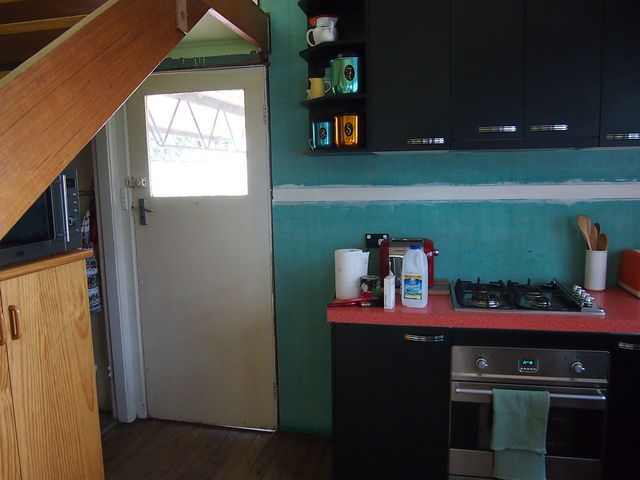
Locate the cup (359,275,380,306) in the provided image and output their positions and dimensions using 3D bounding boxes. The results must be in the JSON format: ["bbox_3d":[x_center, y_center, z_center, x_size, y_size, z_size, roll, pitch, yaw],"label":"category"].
[{"bbox_3d":[0.264,0.266,2.688,0.130,0.200,0.124,0,9,0],"label":"cup"}]

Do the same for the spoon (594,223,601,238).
[{"bbox_3d":[1.545,-0.066,2.812,0.029,0.058,0.011,0,-9,-13],"label":"spoon"}]

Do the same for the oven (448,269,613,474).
[{"bbox_3d":[1.040,0.657,2.840,0.825,1.340,0.861,0,2,6],"label":"oven"}]

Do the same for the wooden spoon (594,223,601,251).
[{"bbox_3d":[1.539,-0.019,2.811,0.019,0.151,0.034,6,2,-24],"label":"wooden spoon"}]

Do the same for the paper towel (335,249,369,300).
[{"bbox_3d":[0.172,0.188,2.771,0.148,0.263,0.188,-3,3,-44],"label":"paper towel"}]

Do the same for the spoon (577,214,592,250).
[{"bbox_3d":[1.467,-0.056,2.826,0.042,0.239,0.030,-5,-6,30],"label":"spoon"}]

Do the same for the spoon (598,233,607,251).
[{"bbox_3d":[1.565,0.008,2.785,0.027,0.102,0.013,7,4,31],"label":"spoon"}]

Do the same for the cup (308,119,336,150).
[{"bbox_3d":[0.017,-0.605,2.858,0.151,0.203,0.114,-1,20,1],"label":"cup"}]

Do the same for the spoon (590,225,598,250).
[{"bbox_3d":[1.521,-0.017,2.805,0.037,0.135,0.037,0,2,24],"label":"spoon"}]

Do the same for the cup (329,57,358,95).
[{"bbox_3d":[0.131,-0.873,2.706,0.138,0.185,0.180,-1,4,-11],"label":"cup"}]

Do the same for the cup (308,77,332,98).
[{"bbox_3d":[0.008,-0.851,2.839,0.130,0.140,0.086,0,5,6],"label":"cup"}]

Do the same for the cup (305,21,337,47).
[{"bbox_3d":[0.012,-1.121,2.771,0.154,0.158,0.102,2,15,27],"label":"cup"}]
